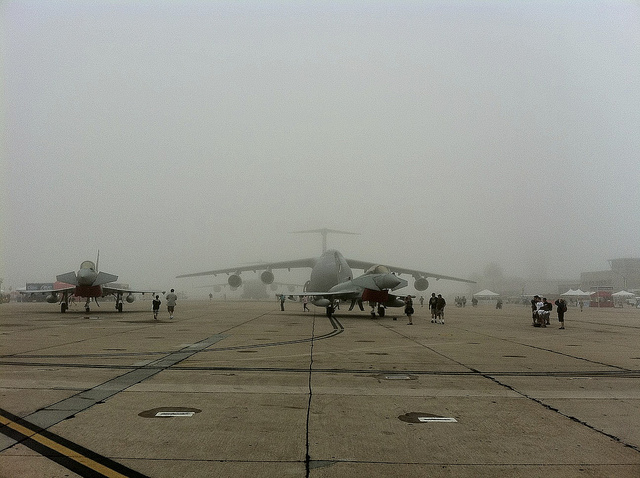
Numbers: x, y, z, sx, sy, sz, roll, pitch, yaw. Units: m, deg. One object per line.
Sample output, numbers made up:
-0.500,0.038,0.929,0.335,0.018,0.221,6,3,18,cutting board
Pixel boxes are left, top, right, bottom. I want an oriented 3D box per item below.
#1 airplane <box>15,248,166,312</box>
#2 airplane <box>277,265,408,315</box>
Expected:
-17.753,4.453,43.074,9.383,4.251,9.377,0,-10,-12,airplane
2.165,3.030,31.589,4.888,2.230,5.476,2,-12,-26,airplane
